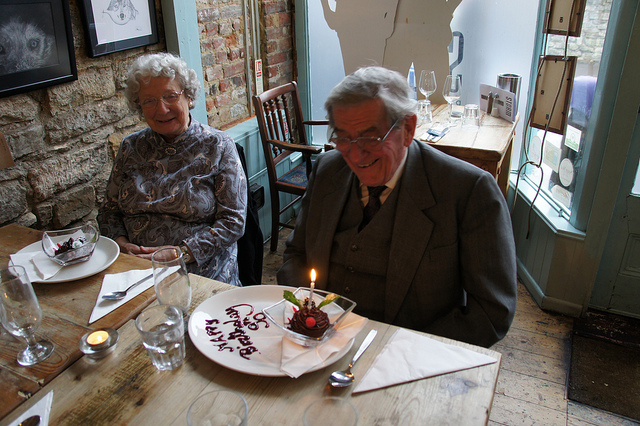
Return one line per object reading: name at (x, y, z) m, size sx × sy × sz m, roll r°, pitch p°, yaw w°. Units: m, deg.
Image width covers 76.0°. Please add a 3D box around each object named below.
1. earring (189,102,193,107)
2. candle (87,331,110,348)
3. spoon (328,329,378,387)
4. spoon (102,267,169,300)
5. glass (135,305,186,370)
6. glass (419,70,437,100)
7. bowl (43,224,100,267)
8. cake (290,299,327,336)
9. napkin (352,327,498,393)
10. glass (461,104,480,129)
earring at (-0.755, -0.629, 2.386) m, size 0.020 × 0.026 × 0.004 m, roll -19°, pitch 30°, yaw -38°
candle at (-0.794, 0.452, 1.460) m, size 0.077 × 0.019 × 0.062 m, roll 2°, pitch 25°, yaw -1°
spoon at (0.116, 0.455, 1.404) m, size 0.064 × 0.041 × 0.293 m, roll 14°, pitch 38°, yaw 26°
spoon at (-0.743, 0.289, 1.643) m, size 0.045 × 0.032 × 0.232 m, roll 9°, pitch 26°, yaw 22°
glass at (-0.537, 0.433, 1.433) m, size 0.168 × 0.210 × 0.170 m, roll -9°, pitch 24°, yaw -17°
glass at (0.839, -0.984, 3.190) m, size 0.119 × 0.238 × 0.297 m, roll 7°, pitch 25°, yaw 14°
bowl at (-1.108, 0.148, 1.824) m, size 0.205 × 0.113 × 0.230 m, roll 17°, pitch 25°, yaw 36°
cake at (-0.038, 0.381, 1.488) m, size 0.130 × 0.067 × 0.190 m, roll 7°, pitch 7°, yaw 2°
napkin at (0.340, 0.511, 1.383) m, size 0.247 × 0.013 × 0.226 m, roll 9°, pitch 31°, yaw 21°
glass at (1.072, -0.672, 2.884) m, size 0.121 × 0.136 × 0.171 m, roll 10°, pitch 26°, yaw 18°
